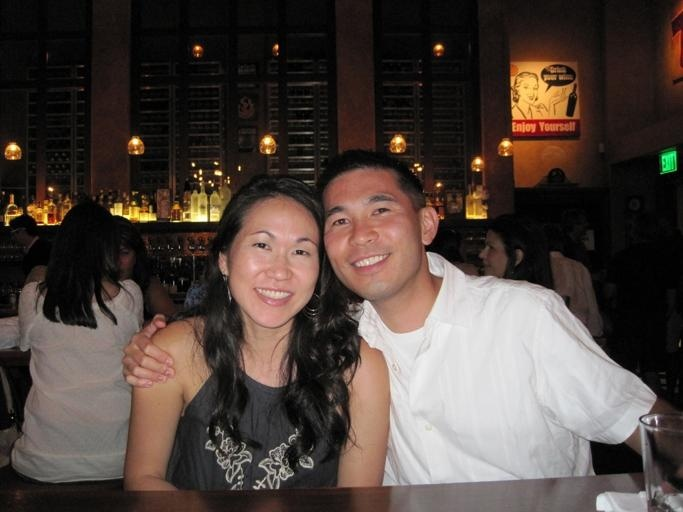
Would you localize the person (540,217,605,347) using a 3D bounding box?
[{"bbox_3d":[2.173,0.224,6.762,0.817,1.179,0.415,-9,-4,15],"label":"person"}]

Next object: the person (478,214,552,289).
[{"bbox_3d":[1.597,-0.026,6.488,0.633,0.829,0.525,5,-5,28],"label":"person"}]

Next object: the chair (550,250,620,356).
[{"bbox_3d":[2.097,0.375,6.293,0.627,0.889,0.317,-9,-1,18],"label":"chair"}]

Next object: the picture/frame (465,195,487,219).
[{"bbox_3d":[1.807,-0.623,9.517,0.298,0.332,0.305,4,-1,3],"label":"picture/frame"}]

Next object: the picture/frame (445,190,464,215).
[{"bbox_3d":[1.499,-0.713,9.453,0.258,0.383,0.254,-1,2,3],"label":"picture/frame"}]
